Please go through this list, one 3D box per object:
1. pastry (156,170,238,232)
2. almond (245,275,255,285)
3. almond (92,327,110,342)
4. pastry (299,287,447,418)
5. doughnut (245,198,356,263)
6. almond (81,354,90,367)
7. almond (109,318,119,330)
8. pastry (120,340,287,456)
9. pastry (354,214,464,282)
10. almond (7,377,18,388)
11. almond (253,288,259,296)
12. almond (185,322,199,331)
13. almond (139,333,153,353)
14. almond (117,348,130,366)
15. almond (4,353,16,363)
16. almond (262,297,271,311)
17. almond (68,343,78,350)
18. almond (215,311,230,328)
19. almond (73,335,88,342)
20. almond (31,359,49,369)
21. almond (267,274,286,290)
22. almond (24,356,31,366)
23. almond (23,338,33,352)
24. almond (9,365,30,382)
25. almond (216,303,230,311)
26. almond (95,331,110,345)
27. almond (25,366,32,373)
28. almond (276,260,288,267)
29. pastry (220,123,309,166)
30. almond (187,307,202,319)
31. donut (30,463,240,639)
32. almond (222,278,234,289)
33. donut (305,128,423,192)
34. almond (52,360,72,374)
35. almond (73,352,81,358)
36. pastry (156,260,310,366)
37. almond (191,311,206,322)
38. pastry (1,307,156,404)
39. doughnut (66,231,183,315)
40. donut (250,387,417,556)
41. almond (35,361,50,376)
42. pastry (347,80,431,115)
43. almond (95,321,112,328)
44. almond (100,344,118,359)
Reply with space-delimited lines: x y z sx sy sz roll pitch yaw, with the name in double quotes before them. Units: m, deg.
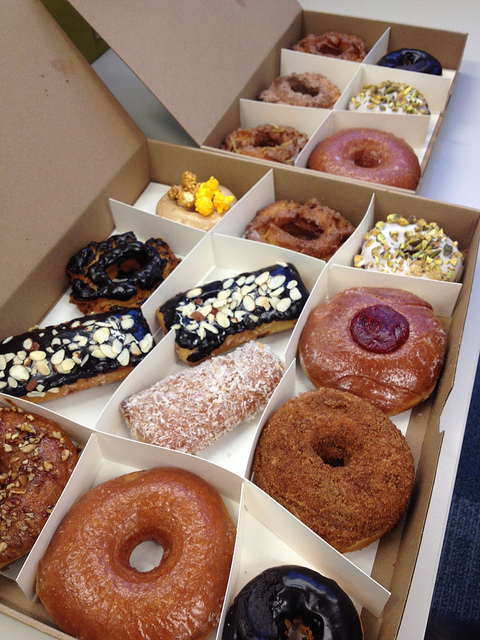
"pastry" -0.161 -0.406 2.109 0.250 0.138 0.231 -3 62 3
"almond" 0.026 -0.122 1.775 0.017 0.009 0.030 21 48 20
"almond" -0.395 0.043 1.628 0.041 0.010 0.038 3 64 -5
"pastry" 0.374 0.053 1.641 0.411 0.133 0.407 33 64 19
"doughnut" 0.209 -0.322 2.001 0.280 0.094 0.290 10 33 12
"almond" -0.418 0.112 1.588 0.007 0.023 0.023 31 5 -15
"almond" -0.352 0.012 1.627 0.017 0.006 0.025 -23 74 -44
"pastry" -0.087 0.192 1.514 0.396 0.137 0.230 -30 56 -27
"pastry" 0.529 -0.228 1.839 0.265 0.085 0.244 16 55 14
"almond" -0.597 0.165 1.529 0.021 0.023 0.019 -9 43 -2
"almond" 0.047 -0.084 1.745 0.017 0.005 0.016 -12 68 29
"almond" -0.137 0.019 1.673 0.033 0.006 0.024 -28 46 -22
"almond" -0.274 0.066 1.646 0.034 0.012 0.043 1 57 6
"almond" -0.325 0.107 1.613 0.031 0.014 0.038 23 70 -26
"almond" -0.614 0.100 1.551 0.023 0.006 0.019 -29 68 -22
"almond" 0.077 -0.045 1.721 0.020 0.007 0.032 -5 60 -11
"almond" -0.459 0.074 1.596 0.022 0.008 0.018 -23 45 -17
"almond" -0.050 0.002 1.691 0.047 0.018 0.044 12 45 19
"almond" -0.445 0.052 1.612 0.031 0.008 0.017 -9 55 -25
"almond" -0.545 0.120 1.572 0.021 0.007 0.025 9 57 -8
"almond" 0.109 -0.114 1.764 0.052 0.014 0.032 -39 65 -22
"almond" -0.569 0.112 1.553 0.015 0.008 0.023 24 50 29
"almond" -0.573 0.070 1.574 0.025 0.017 0.037 -17 43 -10
"almond" -0.582 0.142 1.538 0.045 0.029 0.035 17 48 24
"almond" -0.044 -0.038 1.716 0.024 0.005 0.022 -3 57 -3
"almond" -0.384 0.049 1.619 0.038 0.010 0.034 -33 83 -41
"almond" -0.561 0.133 1.545 0.011 0.003 0.011 18 54 -26
"almond" 0.132 -0.176 1.821 0.013 0.014 0.043 -4 26 -18
"pastry" 0.106 -0.705 2.324 0.251 0.088 0.271 -29 43 -33
"almond" -0.139 -0.022 1.702 0.034 0.011 0.032 -15 38 3
"donut" -0.217 0.507 1.297 0.416 0.136 0.413 7 44 15
"almond" -0.039 -0.110 1.776 0.020 0.012 0.037 19 41 22
"donut" 0.469 -0.583 2.159 0.372 0.118 0.374 -19 43 -13
"almond" -0.479 0.132 1.568 0.043 0.026 0.024 -17 44 -11
"almond" -0.443 0.097 1.586 0.014 0.004 0.013 7 57 -13
"pastry" 0.000 0.010 1.801 0.457 0.145 0.232 -20 59 -11
"almond" -0.121 -0.009 1.688 0.038 0.016 0.028 21 49 27
"pastry" -0.437 0.109 1.686 0.422 0.124 0.192 -16 70 -18
"doughnut" -0.365 -0.153 1.844 0.296 0.091 0.280 -33 53 -30
"donut" 0.229 0.355 1.426 0.350 0.157 0.379 -36 50 -28
"almond" -0.527 0.131 1.555 0.025 0.024 0.033 -37 50 -28
"pastry" 0.619 -0.917 2.410 0.290 0.089 0.268 -10 31 -5
"almond" -0.385 0.015 1.641 0.033 0.008 0.017 4 42 4
"almond" -0.364 0.089 1.609 0.044 0.008 0.033 30 45 -6
